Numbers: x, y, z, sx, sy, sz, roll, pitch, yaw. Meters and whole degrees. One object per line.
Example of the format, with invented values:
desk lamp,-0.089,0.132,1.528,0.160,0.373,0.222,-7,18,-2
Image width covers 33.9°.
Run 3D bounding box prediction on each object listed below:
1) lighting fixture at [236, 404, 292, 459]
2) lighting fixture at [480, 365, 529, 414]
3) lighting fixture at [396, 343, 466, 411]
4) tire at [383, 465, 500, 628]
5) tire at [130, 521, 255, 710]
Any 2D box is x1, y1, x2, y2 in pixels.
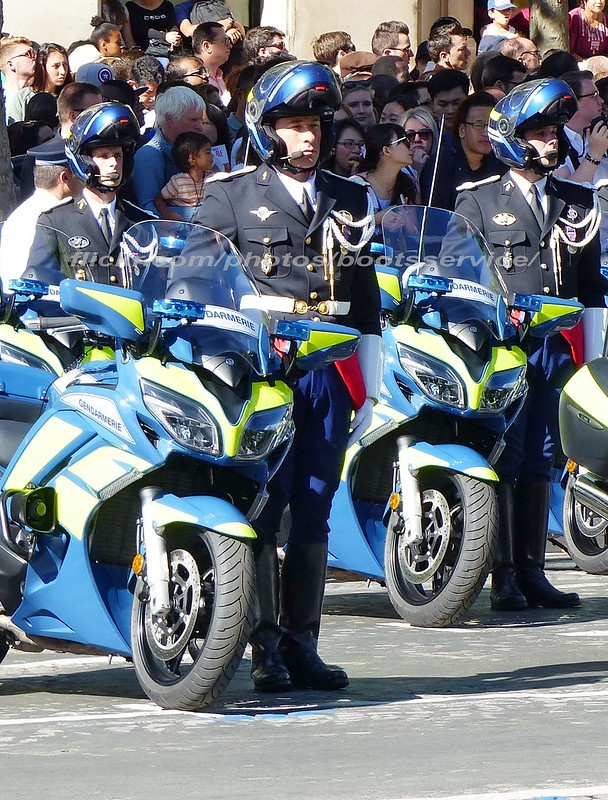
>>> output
lighting fixture,-0.107,0.083,2.757,0.072,0.077,0.230,24,15,7
lighting fixture,0.924,-0.049,4.633,0.074,0.206,0.334,8,15,38
lighting fixture,0.579,-0.109,4.635,0.070,0.275,0.355,-13,16,-40
tire,0.624,0.670,4.696,0.249,0.863,0.839,4,-5,-34
tire,-0.320,0.582,2.776,0.142,0.499,0.479,7,-29,-36
